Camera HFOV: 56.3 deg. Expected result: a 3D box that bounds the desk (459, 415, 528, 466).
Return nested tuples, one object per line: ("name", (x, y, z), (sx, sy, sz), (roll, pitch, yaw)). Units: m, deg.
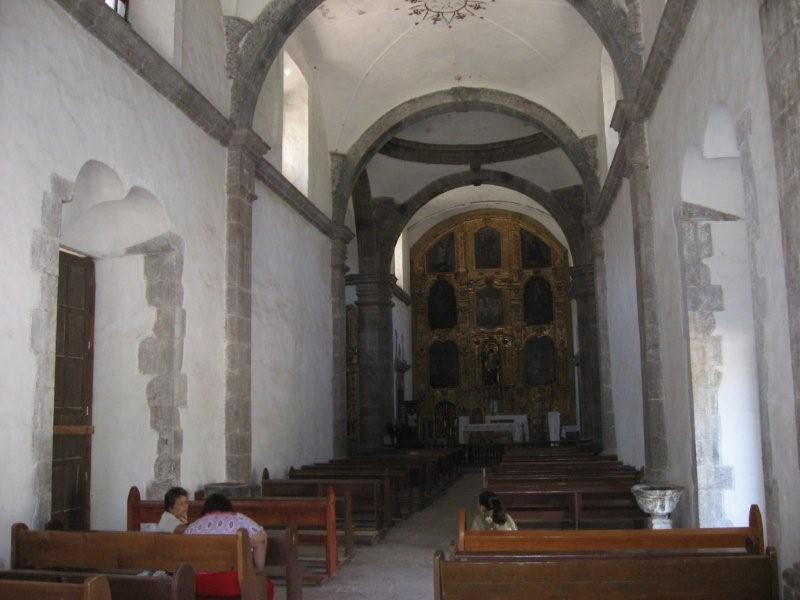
("desk", (3.141, 4.905, 24.659), (1.814, 1.518, 1.045), (-1, -3, 16))
